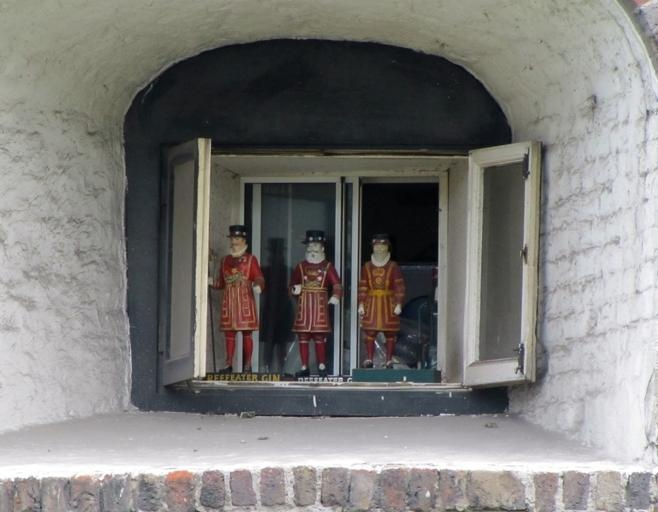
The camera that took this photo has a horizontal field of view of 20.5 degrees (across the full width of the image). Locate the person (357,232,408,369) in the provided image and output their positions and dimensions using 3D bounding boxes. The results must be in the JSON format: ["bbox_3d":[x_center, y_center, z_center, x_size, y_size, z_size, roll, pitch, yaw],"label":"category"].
[{"bbox_3d":[0.383,0.339,13.487,0.339,0.999,0.390,-2,-5,1],"label":"person"}]

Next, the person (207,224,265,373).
[{"bbox_3d":[-0.685,0.317,13.231,0.419,1.066,0.308,0,-6,-13],"label":"person"}]

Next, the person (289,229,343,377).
[{"bbox_3d":[-0.102,0.355,13.408,0.380,1.064,0.281,-2,-5,-1],"label":"person"}]
